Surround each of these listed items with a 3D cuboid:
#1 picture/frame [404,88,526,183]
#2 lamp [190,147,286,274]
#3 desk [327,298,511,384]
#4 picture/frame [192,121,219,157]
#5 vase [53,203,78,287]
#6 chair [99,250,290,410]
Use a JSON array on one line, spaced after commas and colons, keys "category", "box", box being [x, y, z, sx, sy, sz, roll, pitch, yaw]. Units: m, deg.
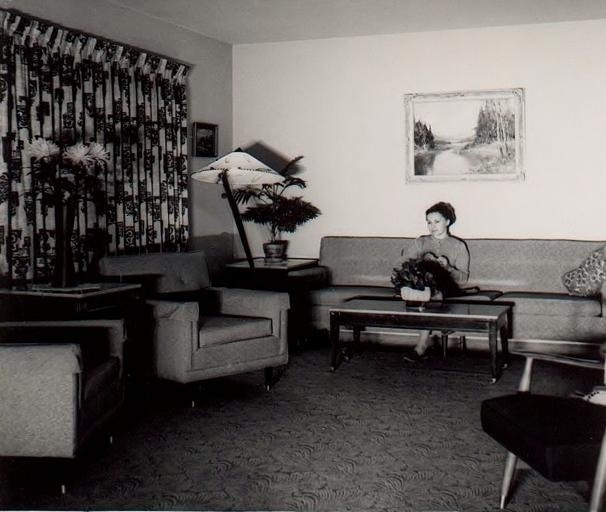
[{"category": "picture/frame", "box": [1.460, -1.094, 4.789, 1.046, 0.807, 0.042, 1, 4, 16]}, {"category": "lamp", "box": [-0.528, -0.394, 4.412, 0.932, 1.294, 0.961, -2, -6, -6]}, {"category": "desk", "box": [0.834, 0.561, 3.848, 1.310, 0.506, 0.862, 2, 5, 21]}, {"category": "picture/frame", "box": [-0.955, -1.131, 5.080, 0.043, 0.343, 0.354, 4, 9, 32]}, {"category": "vase", "box": [-1.328, -0.075, 2.945, 0.122, 0.429, 0.116, -7, 4, -40]}, {"category": "chair", "box": [-0.636, 0.408, 3.450, 0.926, 0.999, 1.005, 0, 1, 38]}]
